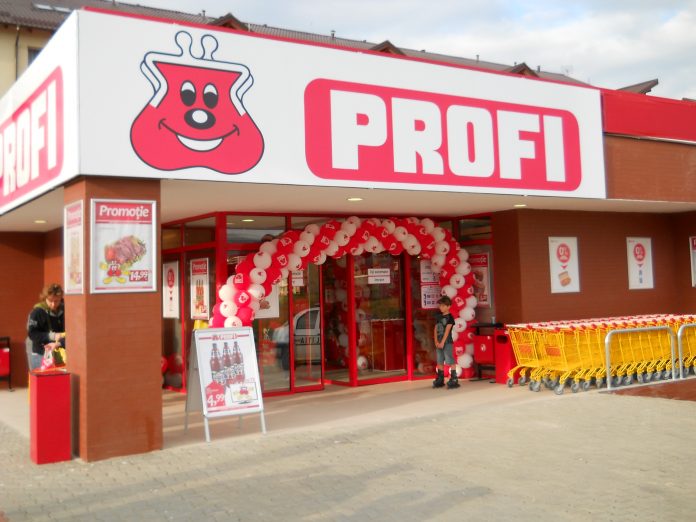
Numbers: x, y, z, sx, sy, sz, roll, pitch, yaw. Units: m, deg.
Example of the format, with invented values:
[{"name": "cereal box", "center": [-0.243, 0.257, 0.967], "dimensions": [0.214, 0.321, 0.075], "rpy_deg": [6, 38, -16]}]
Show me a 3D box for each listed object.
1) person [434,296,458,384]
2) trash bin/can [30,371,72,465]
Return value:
[{"name": "person", "center": [2.006, 1.658, 12.170], "dimensions": [0.467, 1.772, 0.522], "rpy_deg": [2, -7, -28]}, {"name": "trash bin/can", "center": [-3.907, 2.070, 7.776], "dimensions": [0.438, 1.206, 0.269], "rpy_deg": [0, -6, -21]}]
